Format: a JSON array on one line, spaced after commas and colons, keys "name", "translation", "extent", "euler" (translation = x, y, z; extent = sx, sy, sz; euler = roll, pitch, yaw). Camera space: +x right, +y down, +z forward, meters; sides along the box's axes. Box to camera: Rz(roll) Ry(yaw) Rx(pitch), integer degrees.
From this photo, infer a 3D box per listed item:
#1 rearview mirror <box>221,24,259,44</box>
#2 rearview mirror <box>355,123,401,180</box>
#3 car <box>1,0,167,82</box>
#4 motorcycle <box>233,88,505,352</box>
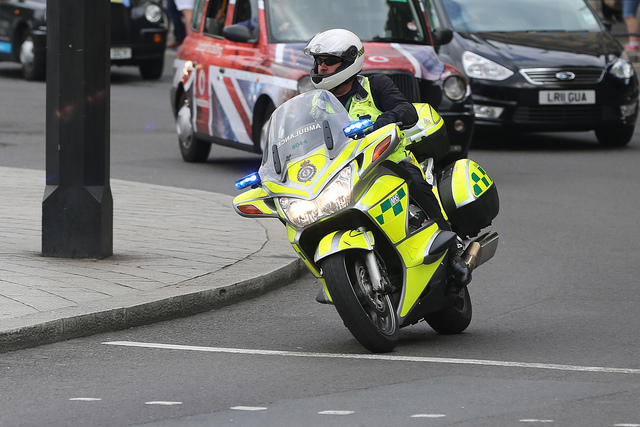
[{"name": "rearview mirror", "translation": [-1.165, -2.655, 12.392], "extent": [0.408, 0.159, 0.308], "euler": [4, 5, -8]}, {"name": "rearview mirror", "translation": [0.402, -0.450, 5.738], "extent": [0.195, 0.247, 0.487], "euler": [-7, 30, 43]}, {"name": "car", "translation": [-5.925, -4.890, 23.581], "extent": [3.667, 2.252, 6.261], "euler": [6, 12, 8]}, {"name": "motorcycle", "translation": [0.507, 0.051, 6.748], "extent": [1.430, 1.893, 3.196], "euler": [-25, -9, 18]}]
